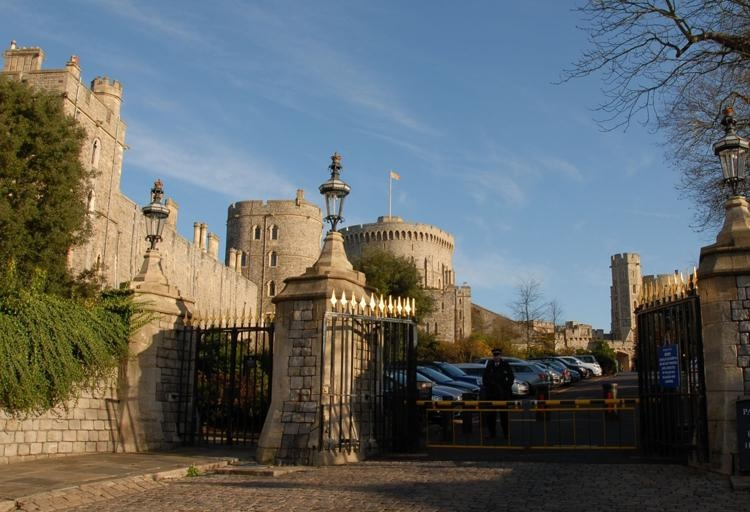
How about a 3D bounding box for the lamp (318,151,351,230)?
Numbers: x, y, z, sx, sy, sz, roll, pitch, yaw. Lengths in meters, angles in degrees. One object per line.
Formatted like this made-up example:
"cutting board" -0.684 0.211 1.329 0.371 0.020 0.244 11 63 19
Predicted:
"lamp" -0.920 -1.444 20.546 0.650 1.843 0.617 7 -10 -39
